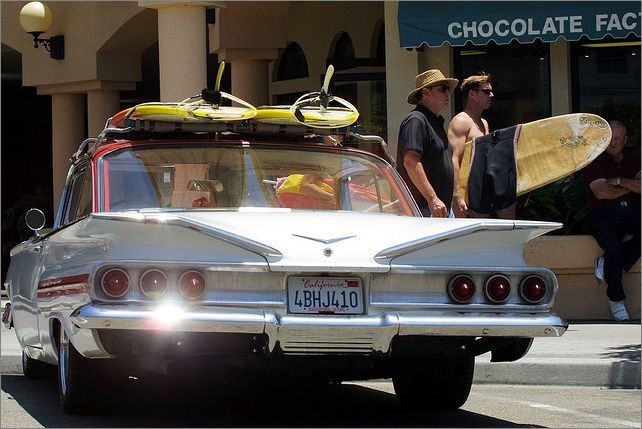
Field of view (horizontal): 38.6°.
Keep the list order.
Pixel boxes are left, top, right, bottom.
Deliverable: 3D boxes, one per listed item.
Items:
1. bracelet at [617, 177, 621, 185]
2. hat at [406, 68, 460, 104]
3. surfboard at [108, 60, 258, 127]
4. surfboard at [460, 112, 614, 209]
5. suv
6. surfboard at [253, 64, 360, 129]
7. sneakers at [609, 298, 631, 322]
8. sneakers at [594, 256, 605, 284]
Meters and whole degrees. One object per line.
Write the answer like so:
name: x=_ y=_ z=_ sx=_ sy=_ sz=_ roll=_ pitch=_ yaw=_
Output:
bracelet: x=3.685 y=-0.407 z=11.341 sx=0.051 sy=0.086 sz=0.017 roll=6 pitch=8 yaw=17
hat: x=1.173 y=-1.422 z=10.128 sx=0.392 sy=0.165 sz=0.521 roll=-14 pitch=-8 yaw=-19
surfboard: x=-1.180 y=-0.983 z=8.000 sx=1.016 sy=0.393 sz=0.701 roll=-3 pitch=0 yaw=-12
surfboard: x=2.589 y=-0.719 z=11.022 sx=2.863 sy=0.782 sz=0.401 roll=-19 pitch=11 yaw=-28
suv: x=-0.434 y=0.253 z=7.295 sx=4.442 sy=2.920 sz=2.204 roll=6 pitch=8 yaw=13
surfboard: x=-0.111 y=-0.967 z=8.120 sx=0.700 sy=0.325 sz=0.702 roll=1 pitch=5 yaw=19
sneakers: x=3.689 y=1.196 z=11.317 sx=0.132 sy=0.156 sz=0.375 roll=-5 pitch=10 yaw=-7
sneakers: x=3.477 y=0.679 z=11.422 sx=0.106 sy=0.311 sz=0.144 roll=3 pitch=-14 yaw=7
